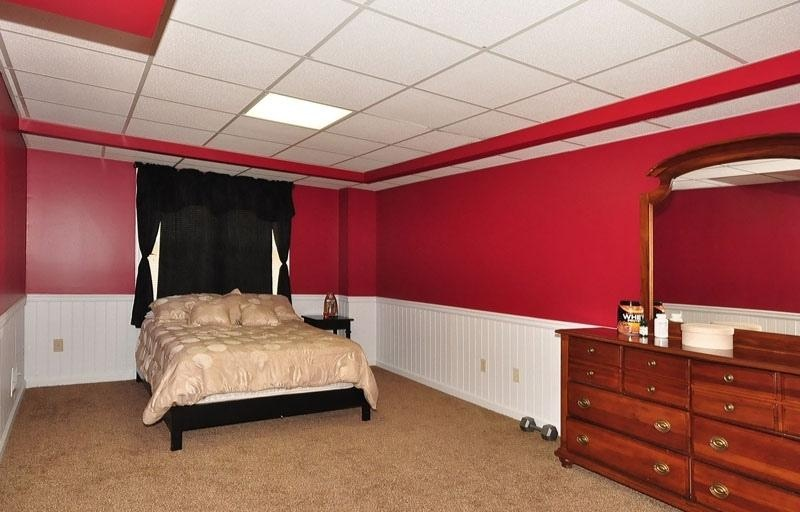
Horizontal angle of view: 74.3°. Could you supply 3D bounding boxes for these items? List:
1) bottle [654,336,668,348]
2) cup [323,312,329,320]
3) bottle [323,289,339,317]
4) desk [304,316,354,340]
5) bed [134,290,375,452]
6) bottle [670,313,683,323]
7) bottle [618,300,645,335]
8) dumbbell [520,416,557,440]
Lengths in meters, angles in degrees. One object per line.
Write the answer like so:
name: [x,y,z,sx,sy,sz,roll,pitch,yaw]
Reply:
bottle: [2.431,0.795,4.879,0.096,0.066,0.094,2,-2,0]
cup: [-1.144,0.934,8.247,0.111,0.098,0.062,-2,-3,43]
bottle: [-1.148,0.794,8.505,0.323,0.492,0.319,0,0,0]
desk: [-1.110,1.035,8.194,0.433,0.518,0.570,-1,1,-25]
bed: [-2.077,1.195,6.845,2.561,1.169,3.068,1,4,-34]
bottle: [2.689,0.596,5.106,0.095,0.087,0.070,2,-4,14]
bottle: [2.303,0.595,5.284,0.190,0.339,0.247,3,5,16]
dumbbell: [1.612,1.930,5.956,0.304,0.168,0.422,-5,11,-38]
